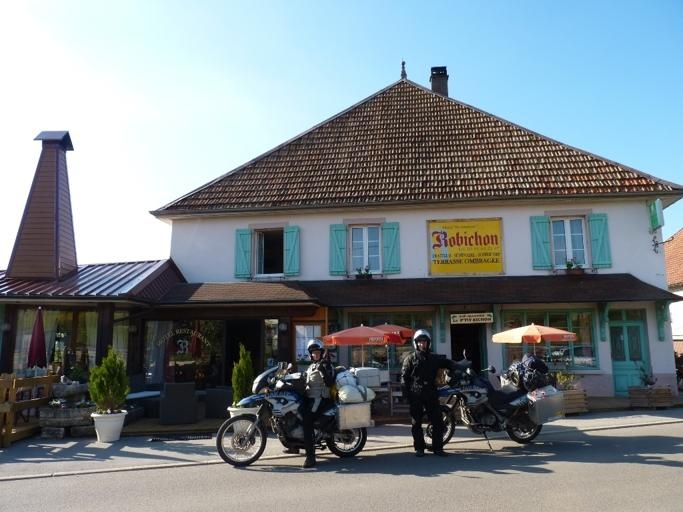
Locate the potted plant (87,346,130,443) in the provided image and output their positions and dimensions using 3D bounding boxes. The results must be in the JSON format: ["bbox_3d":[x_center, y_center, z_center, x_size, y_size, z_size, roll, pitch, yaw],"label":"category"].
[{"bbox_3d":[-5.420,3.263,12.649,0.821,2.052,0.818,0,-3,-22],"label":"potted plant"}]

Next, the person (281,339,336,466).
[{"bbox_3d":[-0.474,2.831,10.528,0.750,2.298,0.546,0,-3,-27],"label":"person"}]

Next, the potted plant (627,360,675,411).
[{"bbox_3d":[8.856,3.816,15.581,0.896,1.127,1.143,-5,-13,30],"label":"potted plant"}]

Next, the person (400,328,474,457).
[{"bbox_3d":[1.772,2.735,10.906,0.964,2.447,0.636,0,-3,-23],"label":"person"}]

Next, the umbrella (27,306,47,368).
[{"bbox_3d":[-7.976,2.191,14.255,0.429,1.607,0.869,0,-3,-30],"label":"umbrella"}]

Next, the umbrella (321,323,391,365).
[{"bbox_3d":[0.403,2.280,14.195,1.082,0.722,1.100,2,-7,-15],"label":"umbrella"}]
